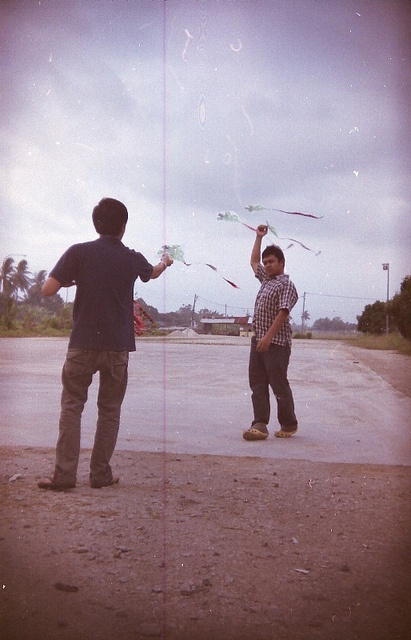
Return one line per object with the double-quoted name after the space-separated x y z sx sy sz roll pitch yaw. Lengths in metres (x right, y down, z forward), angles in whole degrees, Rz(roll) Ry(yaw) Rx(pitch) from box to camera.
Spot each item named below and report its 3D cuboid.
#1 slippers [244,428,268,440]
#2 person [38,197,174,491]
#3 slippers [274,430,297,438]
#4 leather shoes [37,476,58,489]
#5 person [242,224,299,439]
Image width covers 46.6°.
0.377 0.867 3.572 0.160 0.085 0.087 14 36 -31 "slippers"
-0.538 0.091 2.408 0.552 1.438 0.301 1 -1 -22 "person"
0.626 0.886 3.765 0.160 0.077 0.066 5 -11 -42 "slippers"
-0.749 0.765 2.243 0.078 0.038 0.131 2 -2 -28 "leather shoes"
0.524 0.051 3.763 0.395 1.760 0.767 1 -1 11 "person"
